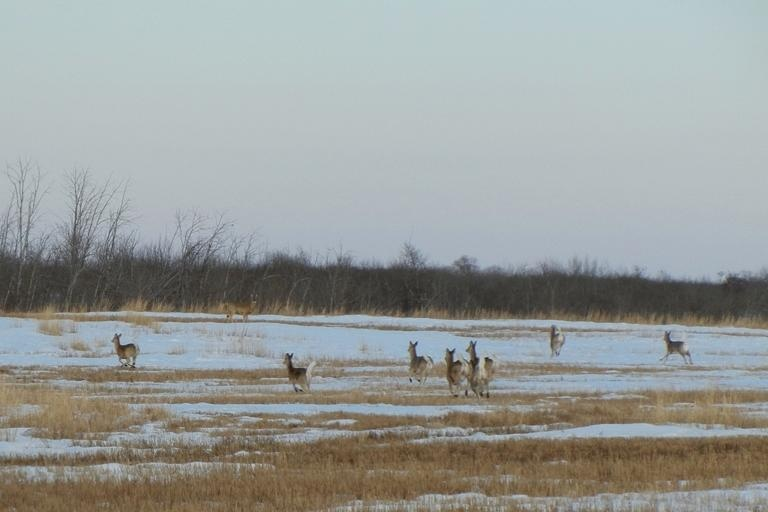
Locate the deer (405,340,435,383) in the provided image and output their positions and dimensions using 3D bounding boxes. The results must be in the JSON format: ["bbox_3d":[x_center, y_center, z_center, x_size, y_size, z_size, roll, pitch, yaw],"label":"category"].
[{"bbox_3d":[1.790,5.566,82.327,0.789,2.264,2.587,2,-5,29],"label":"deer"}]

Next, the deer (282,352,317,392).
[{"bbox_3d":[-4.170,5.806,79.496,0.630,1.993,2.272,-1,-1,-43],"label":"deer"}]
